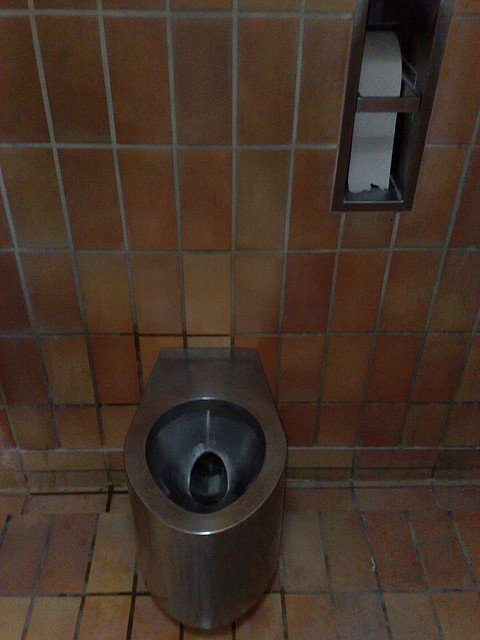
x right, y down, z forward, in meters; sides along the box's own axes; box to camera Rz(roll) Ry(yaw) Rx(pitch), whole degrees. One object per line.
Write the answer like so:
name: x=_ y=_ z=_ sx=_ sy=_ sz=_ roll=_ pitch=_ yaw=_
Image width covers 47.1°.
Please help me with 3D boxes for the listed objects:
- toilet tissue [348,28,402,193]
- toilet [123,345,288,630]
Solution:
toilet tissue: x=0.289 y=-0.440 z=1.177 sx=0.103 sy=0.322 sz=0.170 roll=2 pitch=7 yaw=11
toilet: x=-0.046 y=0.334 z=1.353 sx=0.269 sy=0.510 sz=0.631 roll=1 pitch=40 yaw=3
